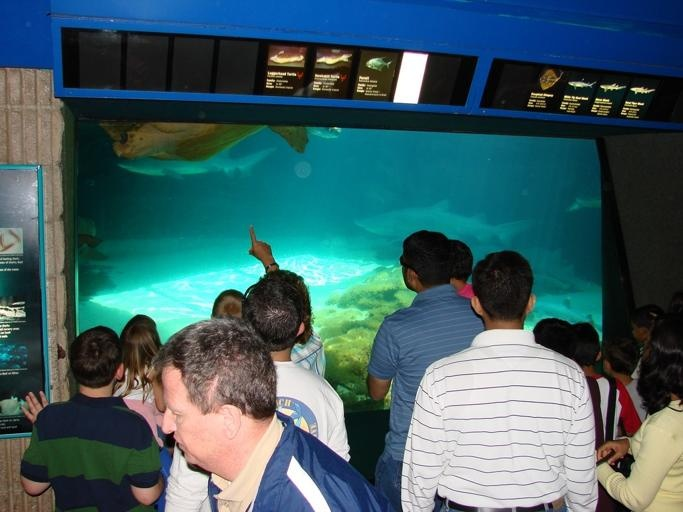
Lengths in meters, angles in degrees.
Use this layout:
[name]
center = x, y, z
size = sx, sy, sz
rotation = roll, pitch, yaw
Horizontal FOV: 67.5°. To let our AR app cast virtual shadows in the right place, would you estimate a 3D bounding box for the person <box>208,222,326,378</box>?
[person]
center = -0.427, 0.382, 3.245
size = 0.702, 1.123, 0.628
rotation = 14, 12, 22
